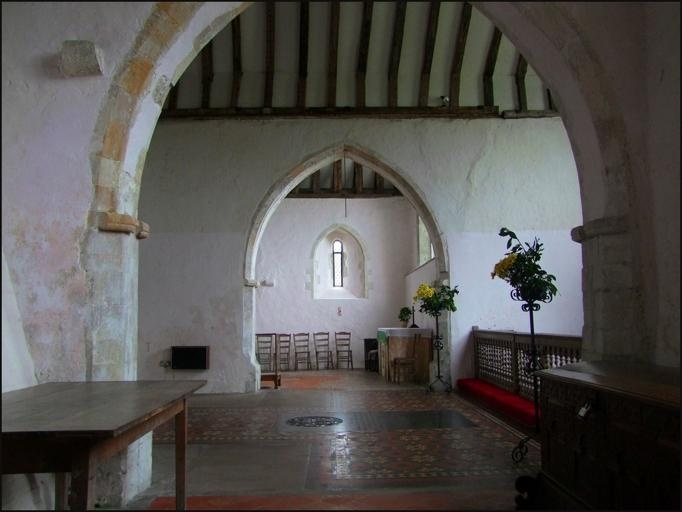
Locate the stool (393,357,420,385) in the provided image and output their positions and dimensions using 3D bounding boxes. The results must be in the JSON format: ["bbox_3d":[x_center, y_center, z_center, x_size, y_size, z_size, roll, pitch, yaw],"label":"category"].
[{"bbox_3d":[1.214,2.151,10.087,0.451,0.622,0.398,1,-5,-4],"label":"stool"}]

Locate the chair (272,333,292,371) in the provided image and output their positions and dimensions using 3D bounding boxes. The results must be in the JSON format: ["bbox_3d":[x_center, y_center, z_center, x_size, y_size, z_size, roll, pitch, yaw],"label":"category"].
[{"bbox_3d":[-1.432,2.423,13.584,0.371,0.914,0.404,0,-4,-7],"label":"chair"}]

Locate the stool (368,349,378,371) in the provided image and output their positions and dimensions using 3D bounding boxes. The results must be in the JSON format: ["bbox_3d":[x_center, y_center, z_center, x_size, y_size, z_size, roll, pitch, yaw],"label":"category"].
[{"bbox_3d":[0.774,2.514,12.813,0.359,0.559,0.386,1,-6,-4],"label":"stool"}]

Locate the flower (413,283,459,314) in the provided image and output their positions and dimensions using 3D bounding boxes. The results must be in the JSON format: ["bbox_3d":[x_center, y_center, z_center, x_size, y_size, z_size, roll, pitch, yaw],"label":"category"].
[{"bbox_3d":[1.557,0.704,8.777,0.532,0.429,0.564,-7,-9,20],"label":"flower"}]
